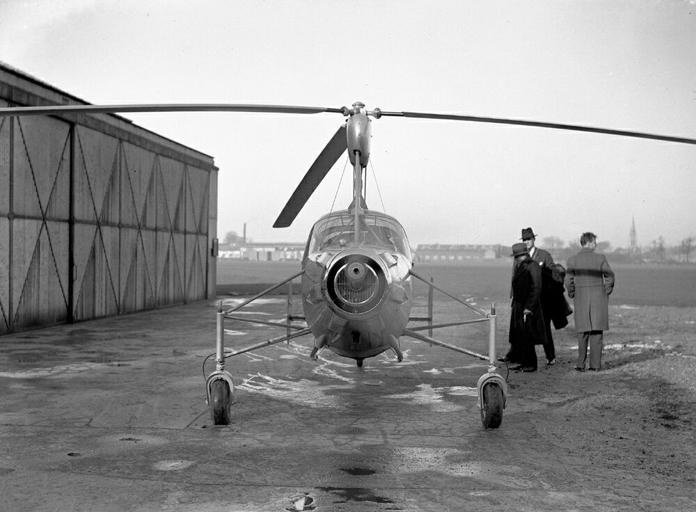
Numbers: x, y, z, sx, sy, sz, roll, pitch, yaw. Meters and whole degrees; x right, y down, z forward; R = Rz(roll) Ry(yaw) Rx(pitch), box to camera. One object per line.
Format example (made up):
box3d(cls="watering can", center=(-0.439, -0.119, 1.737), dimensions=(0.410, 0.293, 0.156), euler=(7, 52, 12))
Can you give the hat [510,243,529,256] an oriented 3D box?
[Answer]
box3d(cls="hat", center=(2.554, -0.100, 11.178), dimensions=(0.278, 0.161, 0.399), euler=(-5, -1, 10))
